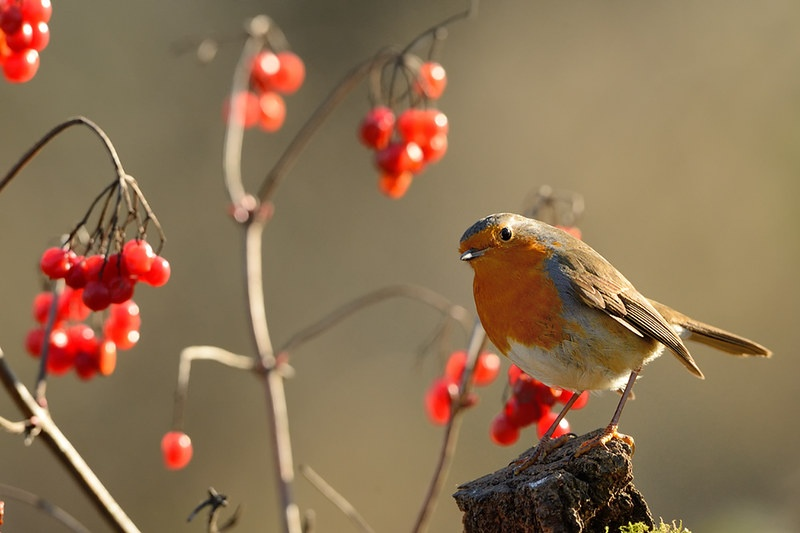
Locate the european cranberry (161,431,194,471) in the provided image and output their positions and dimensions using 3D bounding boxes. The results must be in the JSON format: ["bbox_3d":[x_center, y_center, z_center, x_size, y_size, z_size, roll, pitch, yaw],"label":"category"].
[{"bbox_3d":[-0.849,0.700,3.652,0.124,0.133,0.172,-1,-74,-8],"label":"european cranberry"}]

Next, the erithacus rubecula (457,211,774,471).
[{"bbox_3d":[0.941,0.247,4.048,1.486,1.016,0.504,-2,-12,-26],"label":"erithacus rubecula"}]

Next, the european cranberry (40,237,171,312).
[{"bbox_3d":[-1.073,0.006,3.466,0.439,0.283,0.214,-21,-44,1],"label":"european cranberry"}]
